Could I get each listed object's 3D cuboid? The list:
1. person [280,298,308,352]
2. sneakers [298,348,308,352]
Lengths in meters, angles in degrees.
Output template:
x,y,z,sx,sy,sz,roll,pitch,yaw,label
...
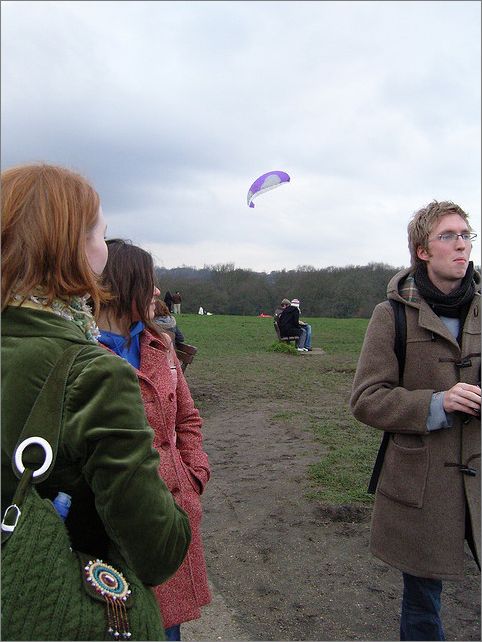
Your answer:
x,y,z,sx,sy,sz,roll,pitch,yaw,label
1.638,0.342,18.578,0.894,1.518,1.297,2,3,21,person
2.004,1.040,18.665,0.368,0.155,0.122,0,5,4,sneakers
